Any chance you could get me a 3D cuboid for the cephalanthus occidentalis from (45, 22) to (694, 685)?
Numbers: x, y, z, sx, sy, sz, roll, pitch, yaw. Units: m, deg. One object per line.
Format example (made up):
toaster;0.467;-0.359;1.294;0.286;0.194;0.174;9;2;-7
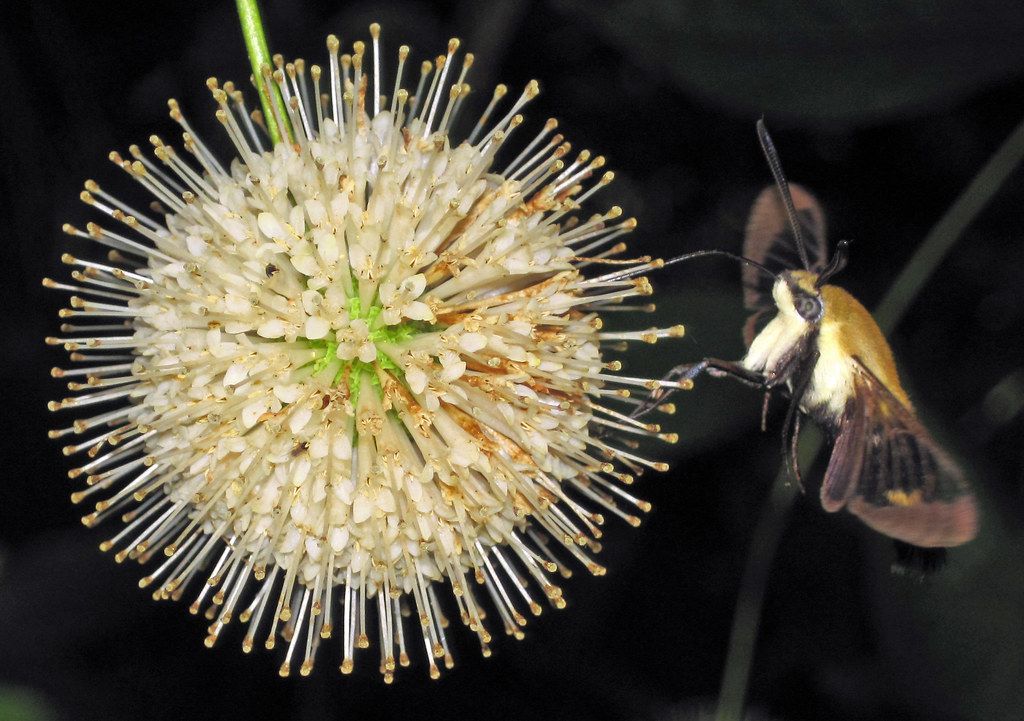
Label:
cephalanthus occidentalis;-0.373;0.036;2.609;0.986;2.178;1.041;2;5;-5
